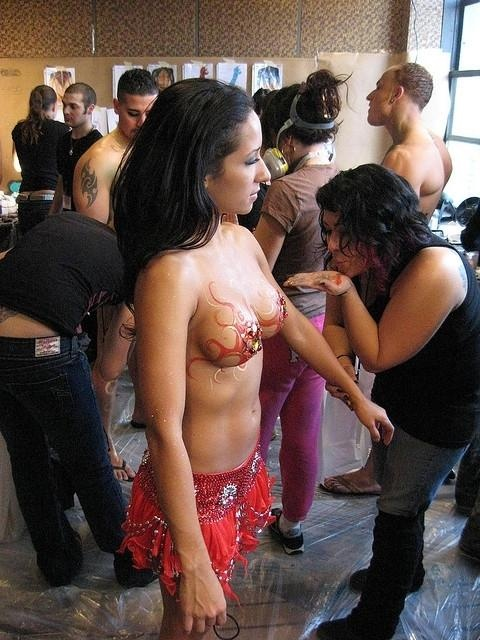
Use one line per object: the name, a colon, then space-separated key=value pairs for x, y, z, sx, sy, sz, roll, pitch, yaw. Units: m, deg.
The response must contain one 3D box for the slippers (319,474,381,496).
slippers: x=0.510 y=0.743 z=2.251 sx=0.193 sy=0.073 sz=0.104 roll=3 pitch=-1 yaw=0
